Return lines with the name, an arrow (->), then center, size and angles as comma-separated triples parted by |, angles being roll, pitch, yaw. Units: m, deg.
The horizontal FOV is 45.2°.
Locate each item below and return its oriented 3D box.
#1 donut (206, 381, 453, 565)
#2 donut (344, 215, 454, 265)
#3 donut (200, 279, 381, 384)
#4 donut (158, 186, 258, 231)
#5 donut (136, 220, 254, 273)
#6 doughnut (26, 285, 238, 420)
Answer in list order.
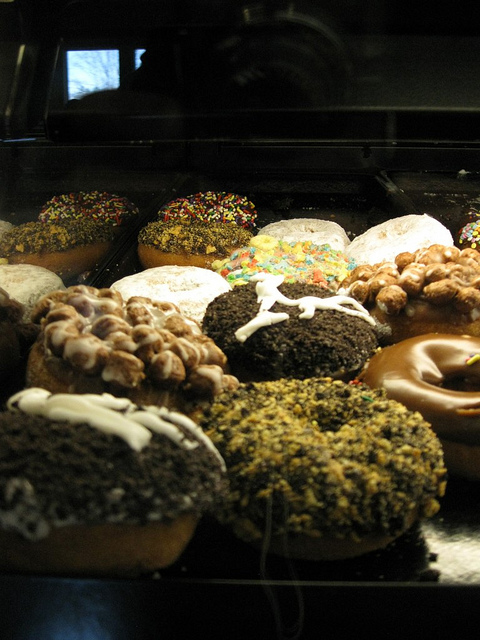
donut -> 0.151, 0.227, 1.044 | 0.411, 0.177, 0.424 | 15, 24, -15
donut -> 0.405, -0.213, 1.525 | 0.180, 0.050, 0.175 | 3, 34, 47
donut -> 0.114, 0.010, 1.146 | 0.360, 0.105, 0.349 | 16, 16, 9
donut -> -0.075, -0.328, 1.690 | 0.179, 0.051, 0.169 | 11, 27, 25
donut -> -0.126, -0.214, 1.635 | 0.252, 0.067, 0.188 | 0, 16, -6
doughnut -> -0.150, 0.025, 0.870 | 0.252, 0.086, 0.255 | 15, 15, -20
